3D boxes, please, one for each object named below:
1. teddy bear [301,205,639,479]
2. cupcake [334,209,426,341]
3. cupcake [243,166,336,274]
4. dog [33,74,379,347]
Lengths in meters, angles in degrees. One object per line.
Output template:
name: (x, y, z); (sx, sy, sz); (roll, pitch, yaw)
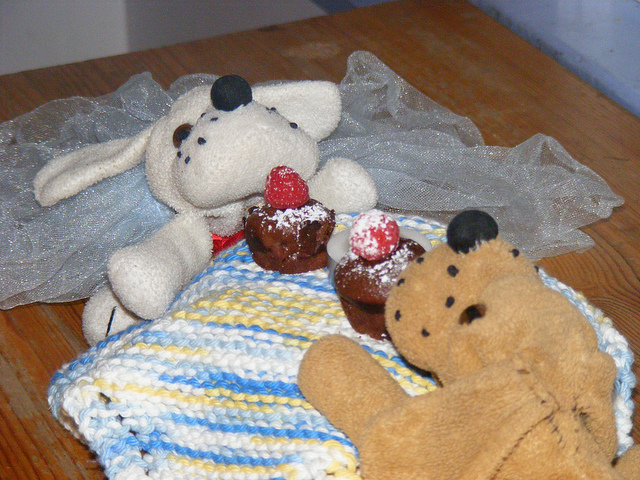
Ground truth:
teddy bear: (0.127, 0.140, 0.912); (0.262, 0.166, 0.362); (-19, 48, -33)
cupcake: (0.080, 0.028, 1.020); (0.126, 0.150, 0.152); (0, 36, 9)
cupcake: (-0.052, -0.036, 1.148); (0.142, 0.142, 0.143); (-12, 33, -17)
dog: (-0.196, -0.080, 1.371); (0.516, 0.453, 0.487); (-13, 34, -17)
